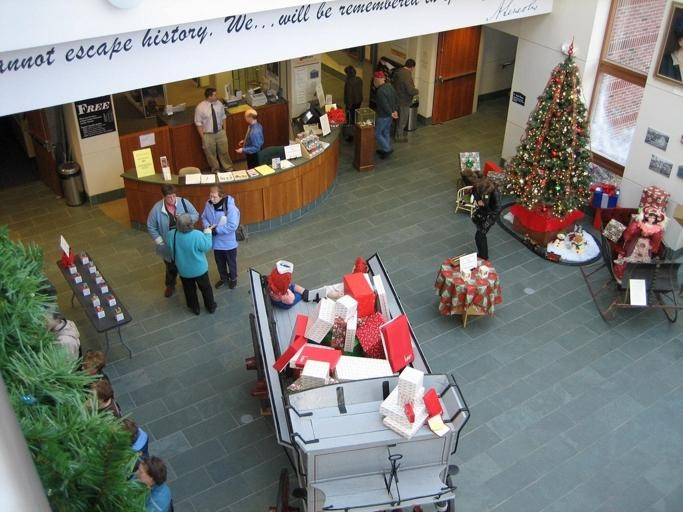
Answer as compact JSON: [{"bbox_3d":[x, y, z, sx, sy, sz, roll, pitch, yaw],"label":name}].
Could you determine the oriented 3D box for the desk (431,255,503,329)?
[{"bbox_3d":[1.966,0.432,7.786,1.031,0.800,1.074,-2,48,3],"label":"desk"}]

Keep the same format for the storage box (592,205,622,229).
[{"bbox_3d":[4.974,-0.776,9.408,0.378,0.435,0.378,-12,37,-4],"label":"storage box"}]

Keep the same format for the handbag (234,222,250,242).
[{"bbox_3d":[-1.699,-0.406,8.399,0.170,0.311,0.220,-10,59,-13],"label":"handbag"}]

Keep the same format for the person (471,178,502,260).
[{"bbox_3d":[2.484,-0.633,8.558,0.414,1.500,0.608,6,38,16],"label":"person"}]

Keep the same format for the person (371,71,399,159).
[{"bbox_3d":[1.063,-3.311,11.569,0.569,1.602,1.303,-1,36,7],"label":"person"}]

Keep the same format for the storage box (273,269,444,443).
[{"bbox_3d":[0.477,0.747,5.505,1.214,0.583,1.654,-9,45,-7],"label":"storage box"}]

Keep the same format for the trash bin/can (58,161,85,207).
[{"bbox_3d":[-5.310,-1.450,9.763,0.514,0.793,0.453,1,45,-7],"label":"trash bin/can"}]

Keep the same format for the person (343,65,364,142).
[{"bbox_3d":[0.268,-3.843,12.240,0.422,1.585,1.091,0,37,9],"label":"person"}]

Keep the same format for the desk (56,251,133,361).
[{"bbox_3d":[-3.476,0.740,6.964,0.429,0.600,1.632,-16,60,-35],"label":"desk"}]

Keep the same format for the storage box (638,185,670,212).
[{"bbox_3d":[5.507,-0.979,8.791,0.458,0.457,0.467,13,45,34],"label":"storage box"}]

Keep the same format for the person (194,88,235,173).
[{"bbox_3d":[-2.700,-2.625,10.443,0.634,1.736,0.429,-16,37,-13],"label":"person"}]

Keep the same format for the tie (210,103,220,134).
[{"bbox_3d":[-2.626,-2.850,10.281,0.112,0.563,0.177,4,37,14],"label":"tie"}]

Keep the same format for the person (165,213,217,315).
[{"bbox_3d":[-2.166,0.120,7.364,0.613,1.729,0.553,-23,40,-22],"label":"person"}]
